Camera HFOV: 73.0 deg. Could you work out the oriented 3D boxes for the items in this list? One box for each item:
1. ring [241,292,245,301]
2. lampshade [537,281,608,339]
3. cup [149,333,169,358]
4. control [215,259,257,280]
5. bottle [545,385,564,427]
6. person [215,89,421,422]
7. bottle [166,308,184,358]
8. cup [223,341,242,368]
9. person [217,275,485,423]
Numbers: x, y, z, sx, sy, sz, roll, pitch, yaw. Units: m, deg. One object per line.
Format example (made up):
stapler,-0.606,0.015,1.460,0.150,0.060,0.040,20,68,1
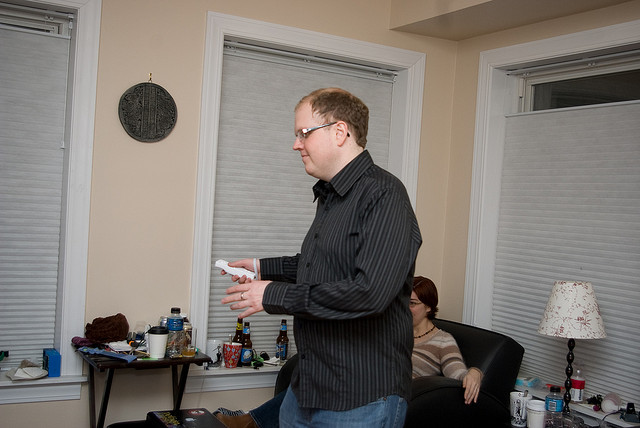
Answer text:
ring,-0.271,0.289,1.517,0.009,0.028,0.034,0,1,-23
lampshade,1.628,0.614,2.802,0.373,0.348,0.351,1,-4,-15
cup,-1.006,0.821,2.694,0.143,0.147,0.138,2,-4,0
control,-0.337,0.241,1.850,0.179,0.085,0.164,1,0,38
bottle,1.488,1.208,2.748,0.103,0.234,0.248,1,1,28
person,0.066,0.172,1.605,0.590,1.328,0.417,1,1,15
bottle,-0.934,0.767,2.791,0.094,0.300,0.092,1,1,0
cup,-0.643,1.031,3.172,0.167,0.164,0.162,1,-8,0
person,0.220,0.904,2.970,1.279,1.117,1.121,13,-18,-28
